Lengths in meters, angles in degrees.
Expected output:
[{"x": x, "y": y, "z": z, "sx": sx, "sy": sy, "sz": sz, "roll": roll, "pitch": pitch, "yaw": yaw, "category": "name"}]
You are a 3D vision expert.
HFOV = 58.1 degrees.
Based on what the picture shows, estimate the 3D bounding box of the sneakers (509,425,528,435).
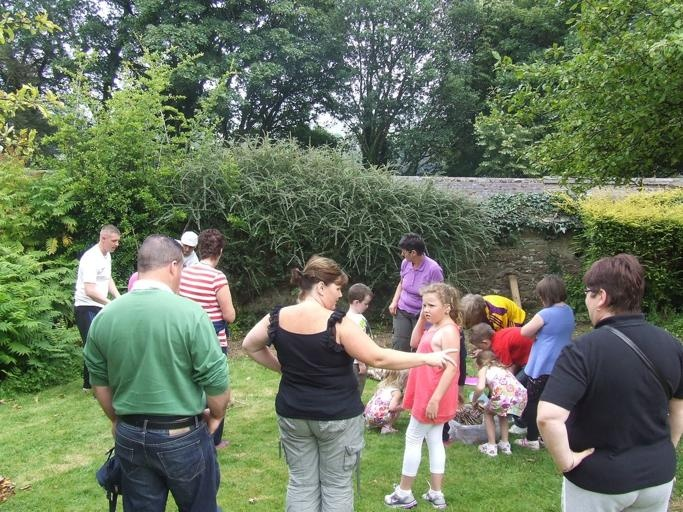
[{"x": 2.342, "y": 2.327, "z": 8.184, "sx": 0.088, "sy": 0.114, "sz": 0.258, "roll": 7, "pitch": -5, "yaw": -41, "category": "sneakers"}]

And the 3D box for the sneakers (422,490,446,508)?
[{"x": 0.991, "y": 2.623, "z": 6.638, "sx": 0.111, "sy": 0.122, "sz": 0.280, "roll": 0, "pitch": 1, "yaw": -18, "category": "sneakers"}]

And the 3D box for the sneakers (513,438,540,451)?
[{"x": 2.326, "y": 2.370, "z": 7.800, "sx": 0.310, "sy": 0.143, "sz": 0.117, "roll": 6, "pitch": 3, "yaw": 39, "category": "sneakers"}]

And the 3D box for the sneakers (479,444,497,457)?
[{"x": 1.804, "y": 2.389, "z": 7.551, "sx": 0.104, "sy": 0.116, "sz": 0.252, "roll": -1, "pitch": 2, "yaw": -28, "category": "sneakers"}]

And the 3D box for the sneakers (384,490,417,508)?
[{"x": 0.628, "y": 2.611, "z": 6.623, "sx": 0.351, "sy": 0.166, "sz": 0.147, "roll": 1, "pitch": 1, "yaw": 17, "category": "sneakers"}]

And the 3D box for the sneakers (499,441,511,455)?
[{"x": 2.016, "y": 2.378, "z": 7.588, "sx": 0.082, "sy": 0.097, "sz": 0.208, "roll": -1, "pitch": 2, "yaw": -4, "category": "sneakers"}]
